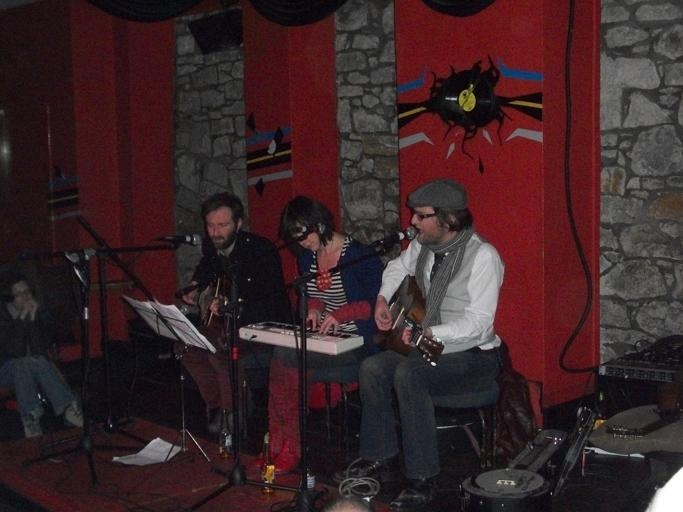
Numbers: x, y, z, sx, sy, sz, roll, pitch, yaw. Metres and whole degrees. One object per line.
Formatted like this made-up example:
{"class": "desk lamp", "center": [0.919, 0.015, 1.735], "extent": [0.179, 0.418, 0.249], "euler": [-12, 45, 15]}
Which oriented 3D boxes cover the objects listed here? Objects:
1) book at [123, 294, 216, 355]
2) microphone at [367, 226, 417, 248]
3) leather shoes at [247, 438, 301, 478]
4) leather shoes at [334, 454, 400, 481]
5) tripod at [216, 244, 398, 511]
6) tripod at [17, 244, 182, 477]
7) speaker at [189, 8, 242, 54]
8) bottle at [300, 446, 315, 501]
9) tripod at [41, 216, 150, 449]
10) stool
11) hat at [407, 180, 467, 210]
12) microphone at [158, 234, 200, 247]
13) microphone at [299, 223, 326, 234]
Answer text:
{"class": "book", "center": [-1.224, 0.504, 5.310], "extent": [0.728, 0.038, 0.606], "euler": [11, -34, 42]}
{"class": "microphone", "center": [0.367, -0.139, 5.213], "extent": [0.378, 0.109, 0.106], "euler": [-18, 20, -10]}
{"class": "leather shoes", "center": [-0.437, 1.289, 4.748], "extent": [0.330, 0.286, 0.168], "euler": [7, -19, -13]}
{"class": "leather shoes", "center": [0.183, 1.374, 4.743], "extent": [0.437, 0.196, 0.168], "euler": [2, 2, -11]}
{"class": "tripod", "center": [-0.069, 0.988, 5.175], "extent": [1.488, 2.275, 0.892], "euler": [2, -4, -5]}
{"class": "tripod", "center": [-1.532, 0.617, 5.039], "extent": [0.801, 1.491, 1.396], "euler": [5, -10, -14]}
{"class": "speaker", "center": [-1.165, -2.121, 6.988], "extent": [0.696, 0.316, 0.227], "euler": [-1, 3, 34]}
{"class": "bottle", "center": [-0.205, 1.239, 4.302], "extent": [0.088, 0.342, 0.193], "euler": [-3, 3, -3]}
{"class": "tripod", "center": [-1.479, 0.521, 4.979], "extent": [0.855, 1.506, 0.677], "euler": [2, 7, 15]}
{"class": "stool", "center": [0.731, 1.100, 4.762], "extent": [0.478, 0.529, 0.401], "euler": [2, -4, -1]}
{"class": "hat", "center": [0.622, -0.390, 4.747], "extent": [0.271, 0.129, 0.214], "euler": [0, 4, -7]}
{"class": "microphone", "center": [-1.071, -0.106, 4.838], "extent": [0.250, 0.066, 0.448], "euler": [-4, 2, -15]}
{"class": "microphone", "center": [-0.170, -0.184, 4.807], "extent": [0.088, 0.052, 0.124], "euler": [0, 1, 37]}
